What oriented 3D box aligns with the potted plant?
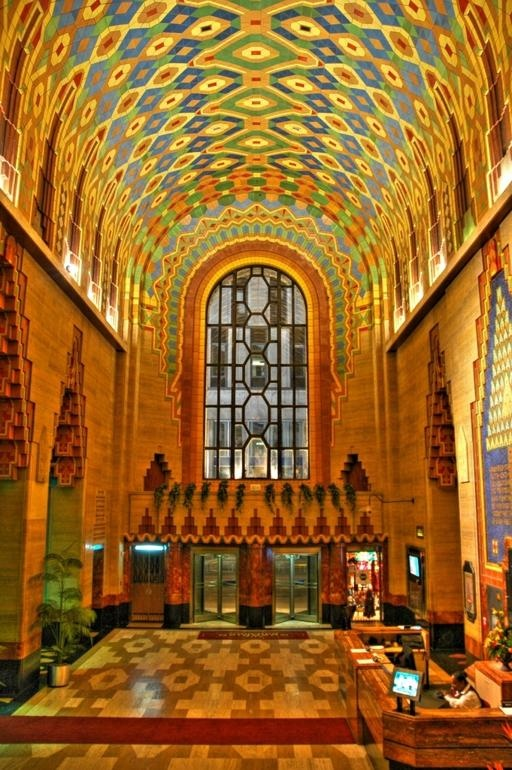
[{"bbox_3d":[-3.131,3.882,8.960,0.811,2.140,0.856,-2,-7,26],"label":"potted plant"}]
